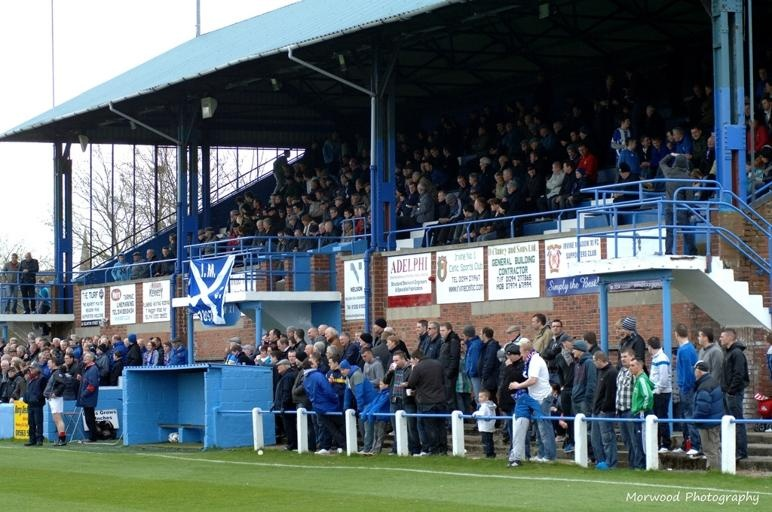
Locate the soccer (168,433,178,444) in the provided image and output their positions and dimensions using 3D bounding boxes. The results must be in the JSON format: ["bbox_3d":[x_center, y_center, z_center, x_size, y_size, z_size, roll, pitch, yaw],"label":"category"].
[{"bbox_3d":[-5.871,4.948,54.183,0.204,0.238,0.285,6,20,18],"label":"soccer"}]
